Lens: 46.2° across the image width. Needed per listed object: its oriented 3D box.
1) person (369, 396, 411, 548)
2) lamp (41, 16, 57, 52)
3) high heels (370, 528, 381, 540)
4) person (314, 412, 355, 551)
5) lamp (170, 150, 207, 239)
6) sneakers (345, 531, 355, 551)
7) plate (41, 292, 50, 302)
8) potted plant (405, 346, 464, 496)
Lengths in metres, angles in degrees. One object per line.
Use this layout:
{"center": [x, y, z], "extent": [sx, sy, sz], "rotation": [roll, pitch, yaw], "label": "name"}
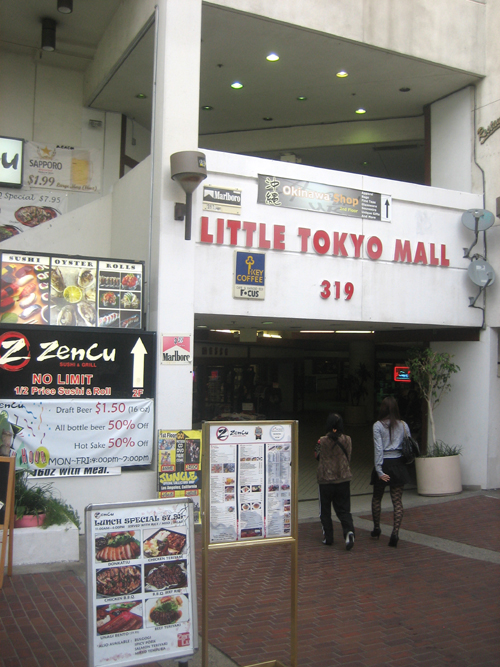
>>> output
{"center": [1.780, 1.733, 7.451], "extent": [0.511, 1.369, 0.918], "rotation": [-2, -1, 11], "label": "person"}
{"center": [-3.379, -4.970, 9.838], "extent": [0.257, 0.625, 0.580], "rotation": [-1, -1, -20], "label": "lamp"}
{"center": [1.604, 2.550, 7.441], "extent": [0.076, 0.095, 0.223], "rotation": [0, 1, -3], "label": "high heels"}
{"center": [1.035, 1.799, 7.172], "extent": [0.422, 1.127, 0.692], "rotation": [-2, -1, 8], "label": "person"}
{"center": [-0.813, -1.763, 7.478], "extent": [0.377, 1.002, 0.511], "rotation": [-1, -1, -22], "label": "lamp"}
{"center": [1.163, 2.468, 6.886], "extent": [0.091, 0.280, 0.120], "rotation": [3, 23, 3], "label": "sneakers"}
{"center": [-2.491, -0.438, 7.118], "extent": [0.029, 0.099, 0.099], "rotation": [-2, 5, 13], "label": "plate"}
{"center": [3.493, 1.616, 10.970], "extent": [0.851, 2.149, 1.278], "rotation": [-2, -1, 20], "label": "potted plant"}
